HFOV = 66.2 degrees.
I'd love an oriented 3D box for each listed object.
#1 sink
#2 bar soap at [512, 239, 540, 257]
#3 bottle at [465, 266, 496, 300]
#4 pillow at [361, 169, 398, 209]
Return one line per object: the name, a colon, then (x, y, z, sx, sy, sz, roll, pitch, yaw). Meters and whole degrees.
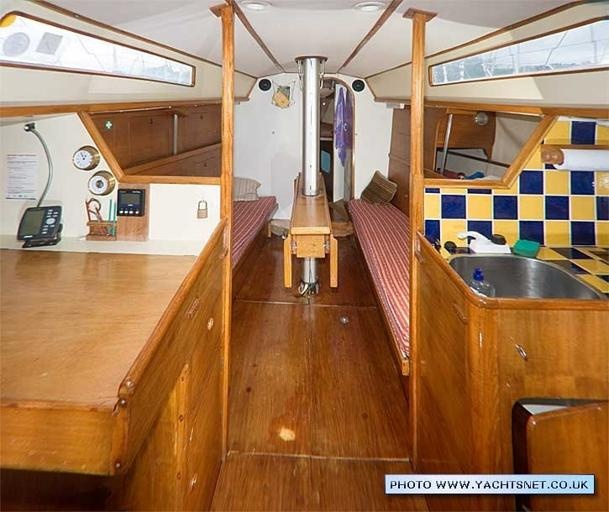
sink: (1.033, 0.104, 2.072, 0.271, 0.140, 0.376, 0, 19, 4)
bar soap: (1.070, -0.036, 2.270, 0.121, 0.068, 0.124, 6, 10, 25)
bottle: (0.746, 0.112, 2.000, 0.098, 0.199, 0.106, 0, 9, 0)
pillow: (1.020, -0.903, 6.389, 0.100, 0.425, 0.456, 13, 24, -35)
